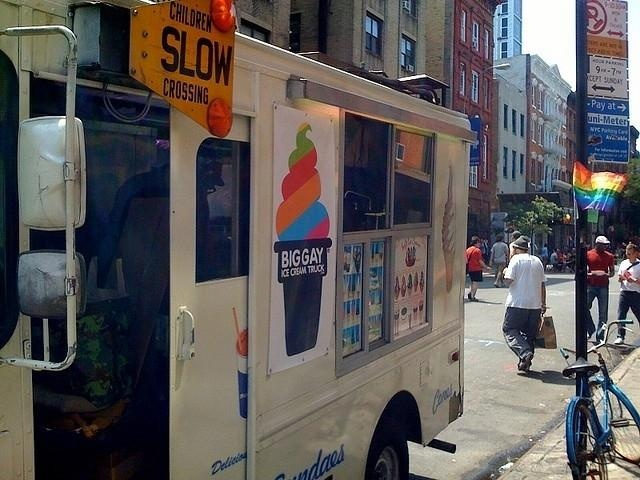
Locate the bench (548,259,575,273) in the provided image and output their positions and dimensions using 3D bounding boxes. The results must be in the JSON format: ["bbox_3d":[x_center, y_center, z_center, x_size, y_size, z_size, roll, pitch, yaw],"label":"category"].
[{"bbox_3d":[12.940,1.458,34.421,0.631,0.526,1.027,1,1,-4],"label":"bench"}]

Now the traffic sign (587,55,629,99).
[{"bbox_3d":[3.168,-1.780,7.109,0.502,0.468,0.070,0,0,-12],"label":"traffic sign"}]

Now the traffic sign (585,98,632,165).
[{"bbox_3d":[3.225,-1.200,7.174,0.707,0.715,0.229,0,0,-29],"label":"traffic sign"}]

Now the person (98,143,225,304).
[{"bbox_3d":[-0.885,-0.147,3.515,0.742,0.811,0.177,0,0,23],"label":"person"}]

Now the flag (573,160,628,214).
[{"bbox_3d":[3.056,-0.587,7.124,0.693,0.541,0.248,0,0,-22],"label":"flag"}]
